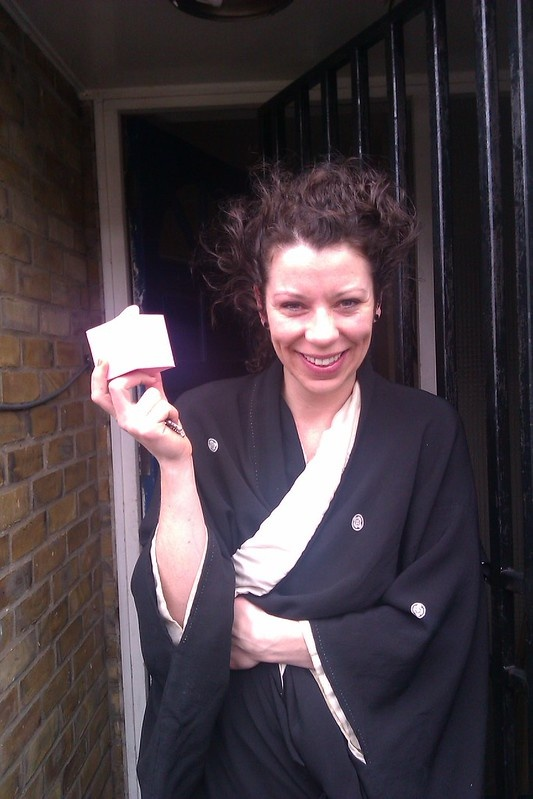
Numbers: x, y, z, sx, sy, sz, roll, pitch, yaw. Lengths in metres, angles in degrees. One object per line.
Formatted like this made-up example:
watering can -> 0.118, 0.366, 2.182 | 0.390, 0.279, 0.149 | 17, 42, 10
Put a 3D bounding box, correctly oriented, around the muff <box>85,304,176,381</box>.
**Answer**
muff -> -0.244, -0.099, 1.150 | 0.140, 0.135, 0.088 | 0, 0, -28
